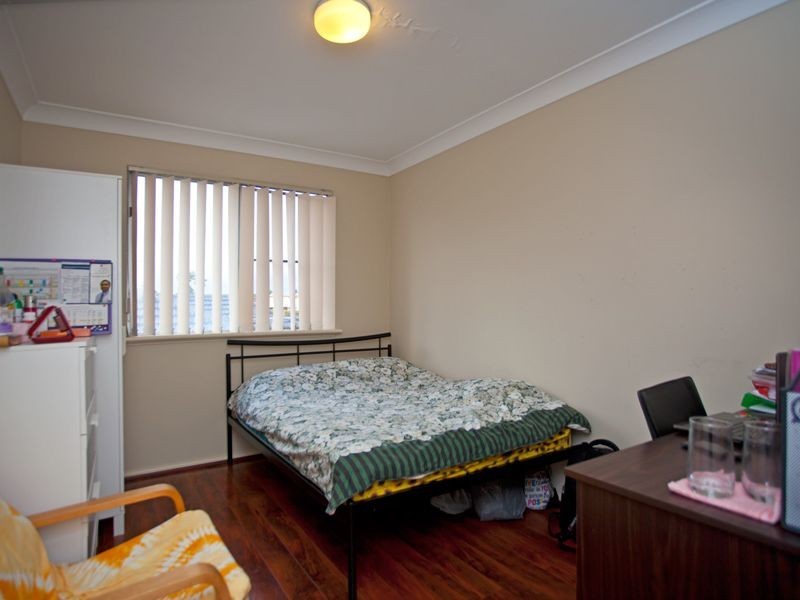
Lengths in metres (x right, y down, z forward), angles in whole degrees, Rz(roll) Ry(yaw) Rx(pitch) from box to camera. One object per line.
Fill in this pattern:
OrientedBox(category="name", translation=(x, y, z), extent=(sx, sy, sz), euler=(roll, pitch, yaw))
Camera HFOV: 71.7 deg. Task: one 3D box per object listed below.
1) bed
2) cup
OrientedBox(category="bed", translation=(-0.119, 0.812, 3.875), extent=(1.716, 0.943, 2.297), euler=(-6, 8, -32))
OrientedBox(category="cup", translation=(1.103, 0.527, 1.903), extent=(0.337, 0.368, 0.196), euler=(-2, -3, 35))
